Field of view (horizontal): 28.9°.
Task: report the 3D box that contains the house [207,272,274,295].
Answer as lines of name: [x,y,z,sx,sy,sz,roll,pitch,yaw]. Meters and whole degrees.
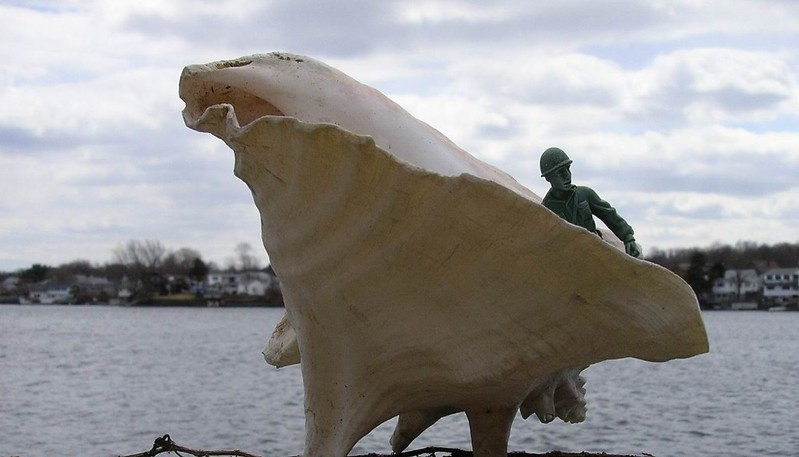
house: [-11.012,3.973,108.807,2.785,0.887,2.822,-1,-4,37]
